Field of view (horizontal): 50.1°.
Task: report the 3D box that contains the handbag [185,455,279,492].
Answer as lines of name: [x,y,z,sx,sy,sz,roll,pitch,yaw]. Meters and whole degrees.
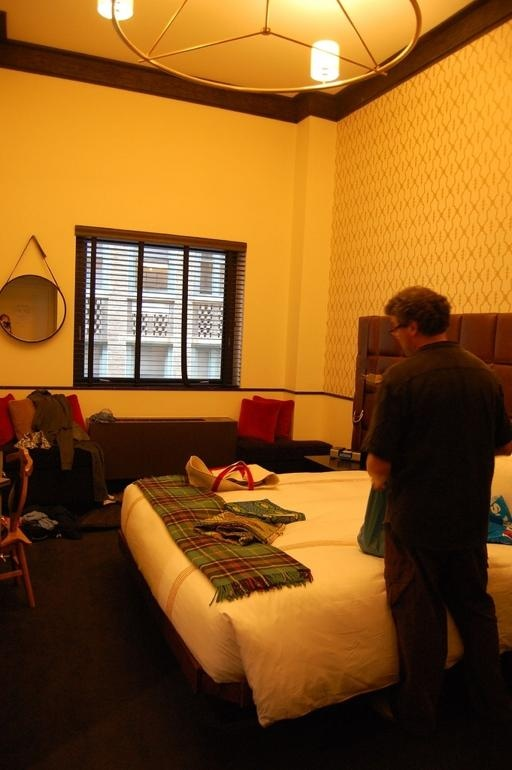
handbag: [-0.145,0.510,3.029,0.357,0.150,0.254,2,-1,-18]

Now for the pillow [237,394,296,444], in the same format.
pillow: [0.081,0.332,5.454,0.472,0.408,0.483,2,2,23]
